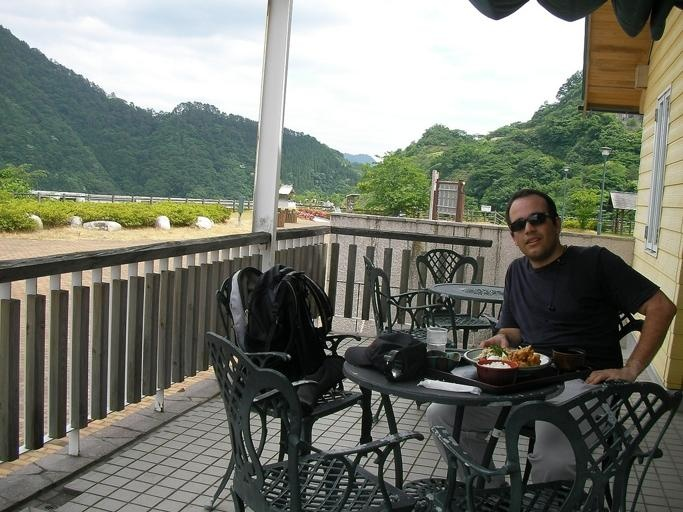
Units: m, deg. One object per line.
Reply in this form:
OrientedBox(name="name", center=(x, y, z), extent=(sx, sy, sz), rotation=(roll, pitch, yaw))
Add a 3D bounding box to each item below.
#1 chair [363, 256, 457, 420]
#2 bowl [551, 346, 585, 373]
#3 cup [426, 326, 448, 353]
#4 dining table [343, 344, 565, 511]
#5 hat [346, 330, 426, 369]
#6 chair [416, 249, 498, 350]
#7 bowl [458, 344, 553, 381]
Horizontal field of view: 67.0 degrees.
OrientedBox(name="chair", center=(0.552, 0.566, 4.239), extent=(0.817, 1.050, 0.746), rotation=(3, 2, 5))
OrientedBox(name="bowl", center=(0.947, 0.431, 2.174), extent=(0.101, 0.063, 0.099), rotation=(-1, -3, 0))
OrientedBox(name="cup", center=(0.416, 0.368, 2.261), extent=(0.104, 0.105, 0.104), rotation=(1, -6, 0))
OrientedBox(name="dining table", center=(0.432, 0.617, 2.102), extent=(0.784, 0.474, 0.760), rotation=(-1, 7, -12))
OrientedBox(name="hat", center=(0.193, 0.378, 2.104), extent=(0.226, 0.082, 0.166), rotation=(1, 5, 36))
OrientedBox(name="chair", center=(1.013, 0.470, 4.487), extent=(0.686, 1.031, 0.741), rotation=(1, 4, -13))
OrientedBox(name="bowl", center=(0.669, 0.429, 2.123), extent=(0.204, 0.039, 0.196), rotation=(-2, 2, 0))
